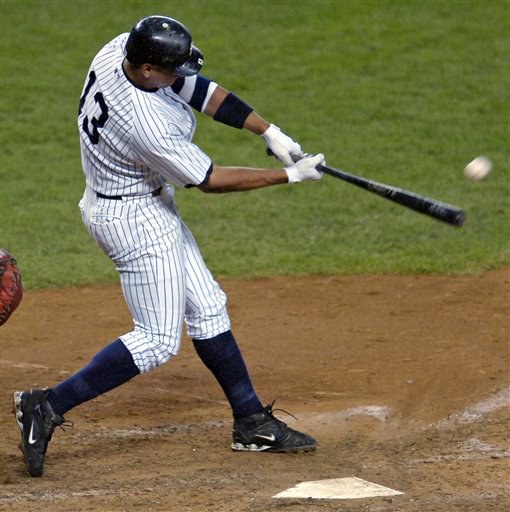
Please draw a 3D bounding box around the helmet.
[{"bbox_3d":[-0.393,-0.897,3.981,0.404,0.145,0.220,12,51,-3],"label":"helmet"}]

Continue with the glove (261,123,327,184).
[{"bbox_3d":[0.173,-0.502,4.397,0.166,0.167,0.423,27,18,-23],"label":"glove"}]

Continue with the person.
[{"bbox_3d":[-0.428,-0.063,4.282,1.602,2.088,0.696,-7,19,-12],"label":"person"}]
